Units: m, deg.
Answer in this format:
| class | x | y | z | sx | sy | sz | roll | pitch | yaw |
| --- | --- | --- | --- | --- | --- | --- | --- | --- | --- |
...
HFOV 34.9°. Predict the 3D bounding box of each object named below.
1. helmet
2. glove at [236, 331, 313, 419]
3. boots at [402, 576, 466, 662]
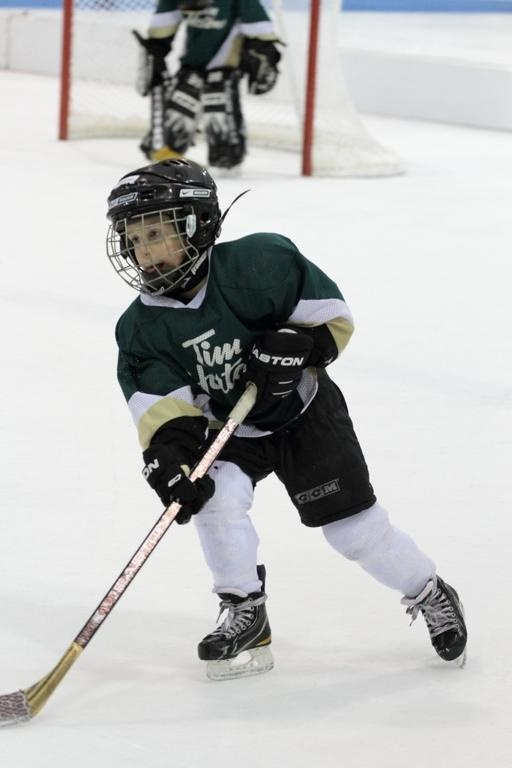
| class | x | y | z | sx | sy | sz | roll | pitch | yaw |
| --- | --- | --- | --- | --- | --- | --- | --- | --- | --- |
| helmet | -0.193 | -0.325 | 1.645 | 0.221 | 0.289 | 0.206 | 1 | 8 | 8 |
| glove | 0.039 | -0.008 | 1.618 | 0.132 | 0.195 | 0.090 | 1 | 8 | 13 |
| boots | 0.376 | 0.479 | 1.657 | 0.133 | 0.086 | 0.259 | 44 | 11 | 12 |
